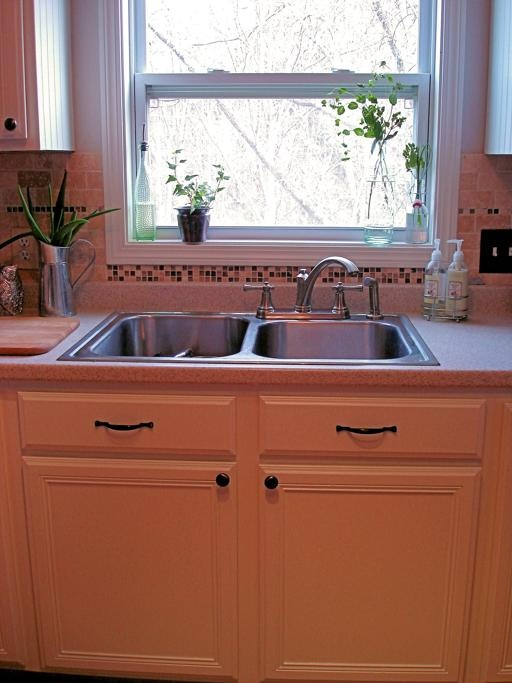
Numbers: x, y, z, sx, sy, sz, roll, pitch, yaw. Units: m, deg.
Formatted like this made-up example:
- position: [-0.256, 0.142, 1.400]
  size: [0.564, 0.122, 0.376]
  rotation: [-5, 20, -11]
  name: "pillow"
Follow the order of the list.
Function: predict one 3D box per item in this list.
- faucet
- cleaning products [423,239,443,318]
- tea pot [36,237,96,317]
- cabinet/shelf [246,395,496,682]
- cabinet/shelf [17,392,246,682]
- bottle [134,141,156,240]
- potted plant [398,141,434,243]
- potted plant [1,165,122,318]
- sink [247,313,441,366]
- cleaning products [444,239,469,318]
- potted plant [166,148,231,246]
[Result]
- position: [0.192, -0.159, 1.842]
  size: [0.159, 0.168, 0.396]
  rotation: [0, 11, 3]
  name: "faucet"
- position: [0.539, -0.188, 1.943]
  size: [0.061, 0.229, 0.171]
  rotation: [2, 12, 15]
  name: "cleaning products"
- position: [-0.576, -0.191, 1.938]
  size: [0.205, 0.251, 0.126]
  rotation: [-13, 25, -43]
  name: "tea pot"
- position: [0.227, 0.417, 1.689]
  size: [0.603, 0.874, 0.593]
  rotation: [1, 9, 4]
  name: "cabinet/shelf"
- position: [-0.287, 0.410, 1.690]
  size: [0.620, 0.906, 0.621]
  rotation: [0, 9, 2]
  name: "cabinet/shelf"
- position: [-0.364, -0.481, 2.072]
  size: [0.066, 0.307, 0.039]
  rotation: [-2, 12, -7]
  name: "bottle"
- position: [0.511, -0.471, 2.052]
  size: [0.088, 0.312, 0.111]
  rotation: [2, 12, 12]
  name: "potted plant"
- position: [-0.591, -0.269, 2.157]
  size: [0.427, 0.496, 0.509]
  rotation: [5, 6, 41]
  name: "potted plant"
- position: [0.210, 0.032, 1.668]
  size: [0.429, 0.114, 0.525]
  rotation: [0, 11, 5]
  name: "sink"
- position: [0.588, -0.175, 1.876]
  size: [0.064, 0.230, 0.079]
  rotation: [10, 16, 42]
  name: "cleaning products"
- position: [-0.185, -0.480, 2.096]
  size: [0.277, 0.348, 0.182]
  rotation: [5, 16, 9]
  name: "potted plant"
